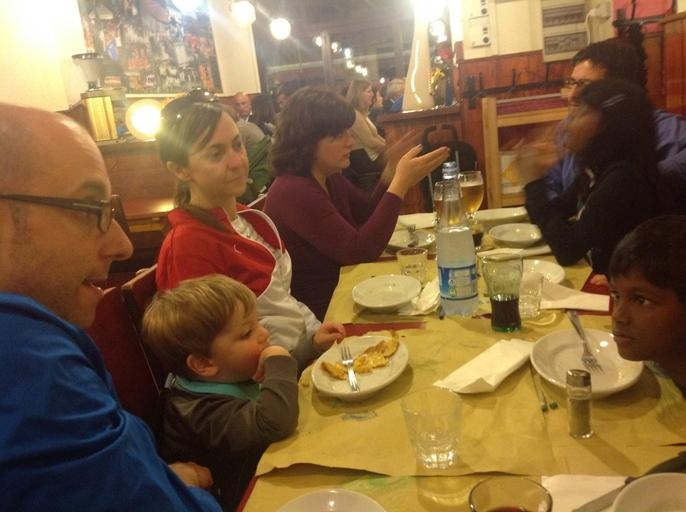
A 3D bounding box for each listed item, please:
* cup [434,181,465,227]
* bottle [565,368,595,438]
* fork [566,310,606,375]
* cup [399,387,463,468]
[{"bbox_3d":[0.356,-0.179,1.745,0.103,0.148,0.092,-9,15,-4],"label":"cup"},{"bbox_3d":[0.534,0.324,1.171,0.056,0.129,0.120,1,20,23],"label":"bottle"},{"bbox_3d":[0.663,0.240,1.429,0.038,0.033,0.306,-20,17,21],"label":"fork"},{"bbox_3d":[0.228,0.422,1.212,0.146,0.163,0.155,3,-23,1],"label":"cup"}]
